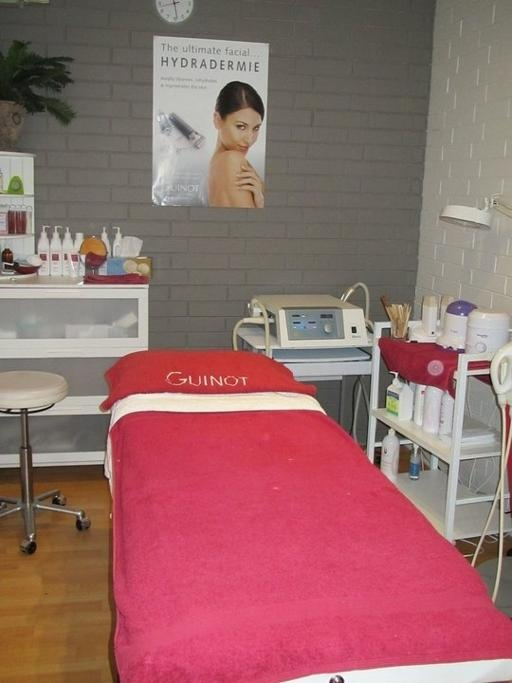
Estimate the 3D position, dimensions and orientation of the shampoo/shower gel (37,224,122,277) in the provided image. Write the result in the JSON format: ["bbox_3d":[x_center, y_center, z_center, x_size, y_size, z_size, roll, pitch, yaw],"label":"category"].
[{"bbox_3d":[-1.008,-0.493,3.211,0.408,0.270,0.074,4,12,23],"label":"shampoo/shower gel"}]

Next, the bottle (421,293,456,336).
[{"bbox_3d":[0.789,-0.110,2.563,0.116,0.188,0.203,-1,19,-2],"label":"bottle"}]

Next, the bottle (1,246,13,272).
[{"bbox_3d":[-1.317,-0.430,3.140,0.054,0.117,0.174,-5,11,-29],"label":"bottle"}]

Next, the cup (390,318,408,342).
[{"bbox_3d":[0.634,-0.039,2.687,0.091,0.094,0.087,0,2,0],"label":"cup"}]
